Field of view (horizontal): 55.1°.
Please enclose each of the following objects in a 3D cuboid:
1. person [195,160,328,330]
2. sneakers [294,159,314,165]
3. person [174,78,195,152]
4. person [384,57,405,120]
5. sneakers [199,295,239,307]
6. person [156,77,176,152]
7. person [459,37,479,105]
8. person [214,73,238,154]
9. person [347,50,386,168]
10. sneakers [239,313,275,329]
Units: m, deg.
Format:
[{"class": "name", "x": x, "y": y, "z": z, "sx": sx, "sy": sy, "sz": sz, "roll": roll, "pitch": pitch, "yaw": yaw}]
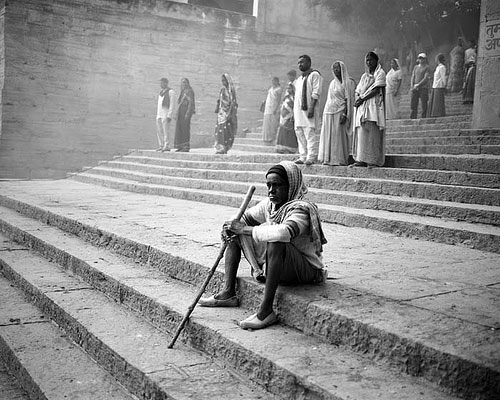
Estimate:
[{"class": "person", "x": 0.157, "y": 0.307, "z": 3.738, "sx": 0.890, "sy": 1.207, "sz": 0.776, "roll": 5, "pitch": 9, "yaw": 13}, {"class": "sneakers", "x": 1.005, "y": -0.711, "z": 8.839, "sx": 0.116, "sy": 0.142, "sz": 0.320, "roll": 2, "pitch": -3, "yaw": -35}, {"class": "person", "x": -1.837, "y": -2.360, "z": 13.387, "sx": 0.434, "sy": 2.016, "sz": 0.665, "roll": 0, "pitch": 9, "yaw": -18}, {"class": "person", "x": 3.711, "y": -2.871, "z": 12.378, "sx": 0.365, "sy": 1.591, "sz": 0.869, "roll": 5, "pitch": 9, "yaw": 15}, {"class": "sneakers", "x": -0.253, "y": 0.831, "z": 3.951, "sx": 0.310, "sy": 0.099, "sz": 0.120, "roll": 4, "pitch": -12, "yaw": -2}, {"class": "person", "x": -2.394, "y": -2.403, "z": 13.615, "sx": 0.344, "sy": 2.029, "sz": 0.898, "roll": -2, "pitch": 10, "yaw": -30}, {"class": "person", "x": 6.477, "y": -3.840, "z": 14.044, "sx": 0.375, "sy": 1.673, "sz": 0.361, "roll": 12, "pitch": 20, "yaw": 43}, {"class": "person", "x": -0.610, "y": -2.242, "z": 12.494, "sx": 0.556, "sy": 2.018, "sz": 0.797, "roll": 2, "pitch": 9, "yaw": -3}, {"class": "person", "x": 1.932, "y": -1.453, "z": 7.709, "sx": 0.474, "sy": 1.828, "sz": 0.570, "roll": -3, "pitch": 11, "yaw": -34}, {"class": "sneakers", "x": 0.055, "y": 0.870, "z": 3.540, "sx": 0.209, "sy": 0.082, "sz": 0.112, "roll": 0, "pitch": -11, "yaw": -28}]
